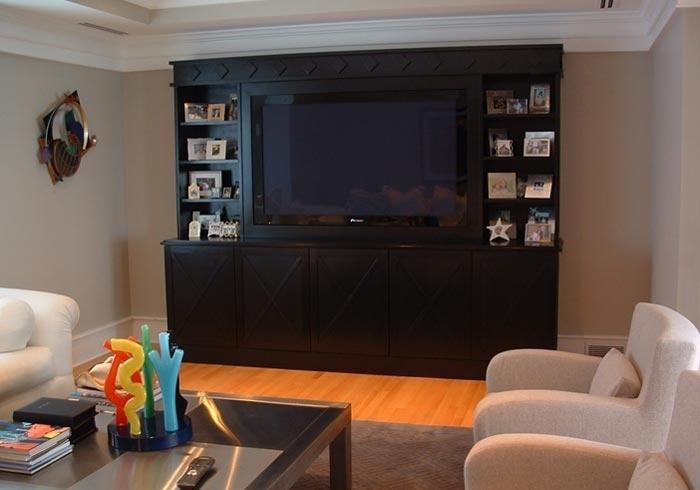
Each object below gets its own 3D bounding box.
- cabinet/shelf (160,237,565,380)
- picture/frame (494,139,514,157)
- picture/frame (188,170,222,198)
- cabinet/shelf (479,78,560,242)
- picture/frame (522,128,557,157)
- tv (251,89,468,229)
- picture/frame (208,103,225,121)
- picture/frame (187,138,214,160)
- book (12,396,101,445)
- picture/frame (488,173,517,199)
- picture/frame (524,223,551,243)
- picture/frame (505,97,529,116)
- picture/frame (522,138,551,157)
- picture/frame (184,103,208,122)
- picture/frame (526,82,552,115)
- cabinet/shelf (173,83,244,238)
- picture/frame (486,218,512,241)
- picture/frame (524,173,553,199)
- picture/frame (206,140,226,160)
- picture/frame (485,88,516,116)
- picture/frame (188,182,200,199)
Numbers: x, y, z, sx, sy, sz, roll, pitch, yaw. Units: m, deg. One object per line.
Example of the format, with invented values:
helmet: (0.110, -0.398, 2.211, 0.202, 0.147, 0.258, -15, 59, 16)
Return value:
cabinet/shelf: (0.062, 0.541, 4.843, 3.414, 1.242, 0.556, 0, 12, 9)
picture/frame: (1.352, -0.845, 4.544, 0.170, 0.167, 0.028, 1, 4, 8)
picture/frame: (-1.432, -0.589, 5.118, 0.255, 0.234, 0.020, 0, 0, 1)
cabinet/shelf: (1.500, -0.728, 4.559, 0.643, 1.477, 0.168, 0, 2, 19)
picture/frame: (1.666, -0.887, 4.499, 0.279, 0.283, 0.100, 3, -6, 9)
tv: (0.058, -0.763, 4.765, 1.997, 1.273, 0.066, 0, -2, 7)
picture/frame: (-1.312, -1.286, 5.042, 0.172, 0.208, 0.015, 1, 1, -1)
picture/frame: (-1.473, -0.934, 5.080, 0.218, 0.218, 0.023, 0, 0, -3)
book: (-1.487, 0.859, 2.617, 0.283, 0.095, 0.220, 4, 6, 19)
picture/frame: (1.371, -0.520, 4.619, 0.232, 0.231, 0.023, 0, -11, 5)
picture/frame: (1.668, -0.100, 4.547, 0.160, 0.140, 0.057, 1, -1, 13)
picture/frame: (1.465, -1.202, 4.522, 0.199, 0.176, 0.070, 2, 8, 18)
picture/frame: (1.633, -0.842, 4.488, 0.175, 0.151, 0.025, 5, -11, 8)
picture/frame: (-1.510, -1.278, 5.027, 0.200, 0.190, 0.066, 1, 1, 1)
picture/frame: (1.665, -1.284, 4.525, 0.162, 0.294, 0.031, 3, -15, 13)
cabinet/shelf: (-1.387, -1.004, 5.085, 0.534, 1.294, 0.265, 0, -22, -15)
picture/frame: (1.357, -0.126, 4.658, 0.198, 0.192, 0.034, -2, -13, 13)
picture/frame: (1.664, -0.513, 4.549, 0.234, 0.190, 0.181, 3, 9, 20)
picture/frame: (-1.325, -0.922, 5.076, 0.198, 0.232, 0.019, 0, -9, -3)
picture/frame: (1.340, -1.252, 4.587, 0.293, 0.287, 0.031, -1, -7, 3)
picture/frame: (-1.543, -0.523, 5.099, 0.160, 0.237, 0.025, 1, 4, 19)
